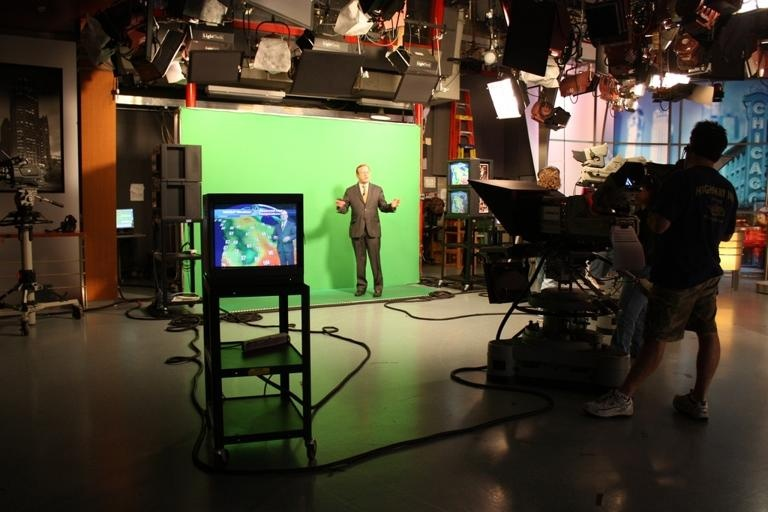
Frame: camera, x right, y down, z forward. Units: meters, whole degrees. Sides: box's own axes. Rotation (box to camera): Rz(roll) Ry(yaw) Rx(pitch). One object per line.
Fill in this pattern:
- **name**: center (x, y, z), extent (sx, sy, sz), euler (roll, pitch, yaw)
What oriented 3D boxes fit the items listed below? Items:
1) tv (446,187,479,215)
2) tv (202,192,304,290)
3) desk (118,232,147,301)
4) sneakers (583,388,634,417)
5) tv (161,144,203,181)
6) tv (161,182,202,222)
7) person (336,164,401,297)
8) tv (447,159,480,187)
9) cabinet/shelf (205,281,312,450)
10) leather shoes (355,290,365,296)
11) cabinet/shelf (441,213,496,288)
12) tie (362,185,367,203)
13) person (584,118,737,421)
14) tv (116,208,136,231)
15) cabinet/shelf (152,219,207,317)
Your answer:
- **tv**: center (1.294, -0.943, 10.374), extent (0.209, 0.456, 0.670), euler (-5, 9, -40)
- **tv**: center (-0.917, -0.175, 5.048), extent (1.108, 0.988, 0.621), euler (0, -4, -5)
- **desk**: center (-4.434, 0.050, 10.624), extent (0.381, 0.948, 2.228), euler (-3, 7, -23)
- **sneakers**: center (1.928, 1.270, 5.283), extent (0.483, 0.213, 0.179), euler (-1, 1, -5)
- **tv**: center (-2.702, -1.255, 8.241), extent (0.559, 0.483, 0.419), euler (2, 8, 6)
- **tv**: center (-2.786, -0.728, 8.298), extent (0.523, 0.527, 0.527), euler (0, 1, -23)
- **person**: center (-0.285, -0.416, 9.578), extent (0.815, 2.025, 0.472), euler (0, 6, -3)
- **tv**: center (1.328, -1.435, 10.391), extent (0.513, 0.446, 0.355), euler (1, 6, 6)
- **cabinet/shelf**: center (-1.016, 0.849, 4.963), extent (0.848, 1.320, 0.986), euler (-2, 7, -16)
- **leather shoes**: center (-0.388, 0.570, 9.509), extent (0.147, 0.072, 0.213), euler (-1, 7, -5)
- **cabinet/shelf**: center (1.496, -0.146, 11.184), extent (1.062, 1.402, 1.189), euler (2, 1, 6)
- **tie**: center (-0.320, -0.982, 9.535), extent (0.093, 0.256, 0.094), euler (0, 6, -1)
- **person**: center (2.435, 0.317, 5.171), extent (1.130, 2.154, 0.322), euler (-1, 6, -12)
- **tv**: center (-4.539, -0.646, 10.695), extent (0.274, 0.373, 0.422), euler (-3, 7, -25)
- **cabinet/shelf**: center (-2.633, 0.092, 8.529), extent (0.835, 1.262, 0.828), euler (-3, 1, -29)
